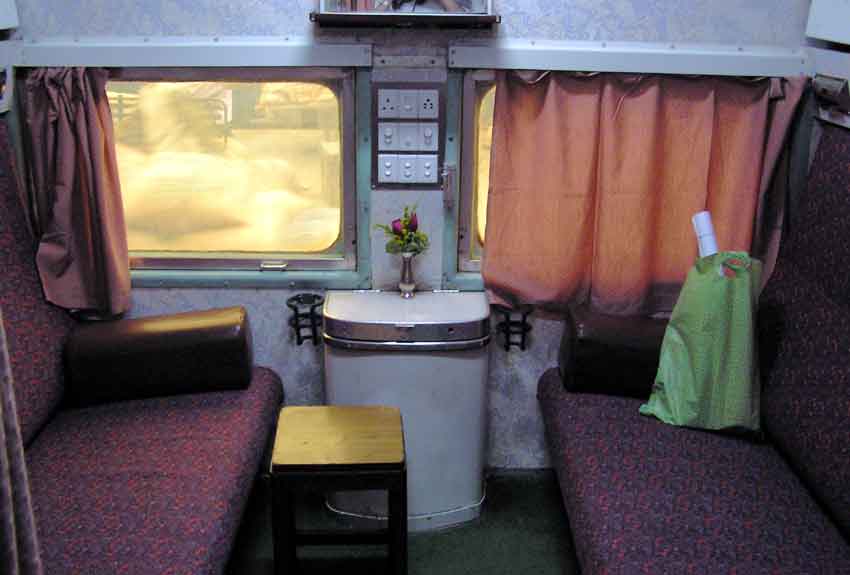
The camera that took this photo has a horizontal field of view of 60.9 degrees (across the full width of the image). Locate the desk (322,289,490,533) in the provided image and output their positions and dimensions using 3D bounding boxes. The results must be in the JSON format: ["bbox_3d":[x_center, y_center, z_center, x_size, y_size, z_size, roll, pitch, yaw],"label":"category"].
[{"bbox_3d":[-0.084,0.509,2.974,0.824,1.086,0.601,0,20,0],"label":"desk"}]

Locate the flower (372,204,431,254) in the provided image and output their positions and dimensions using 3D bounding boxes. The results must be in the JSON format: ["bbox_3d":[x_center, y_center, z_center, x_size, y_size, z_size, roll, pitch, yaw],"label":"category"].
[{"bbox_3d":[-0.096,-0.253,3.162,0.214,0.217,0.211,-2,4,-15],"label":"flower"}]

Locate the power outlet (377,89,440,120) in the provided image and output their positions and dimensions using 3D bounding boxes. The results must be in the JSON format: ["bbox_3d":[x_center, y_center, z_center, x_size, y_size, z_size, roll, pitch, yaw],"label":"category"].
[{"bbox_3d":[-0.072,-0.793,3.116,0.251,0.124,0.064,1,19,10],"label":"power outlet"}]
